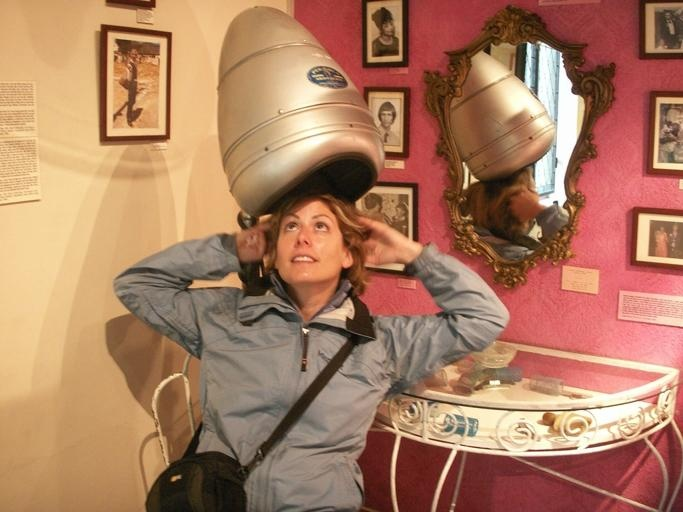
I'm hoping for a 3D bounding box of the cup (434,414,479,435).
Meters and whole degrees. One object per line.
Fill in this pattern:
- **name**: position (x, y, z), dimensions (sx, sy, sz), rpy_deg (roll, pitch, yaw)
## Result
- **cup**: position (0.390, 0.557, 1.891), dimensions (0.105, 0.071, 0.035), rpy_deg (4, 15, 7)
